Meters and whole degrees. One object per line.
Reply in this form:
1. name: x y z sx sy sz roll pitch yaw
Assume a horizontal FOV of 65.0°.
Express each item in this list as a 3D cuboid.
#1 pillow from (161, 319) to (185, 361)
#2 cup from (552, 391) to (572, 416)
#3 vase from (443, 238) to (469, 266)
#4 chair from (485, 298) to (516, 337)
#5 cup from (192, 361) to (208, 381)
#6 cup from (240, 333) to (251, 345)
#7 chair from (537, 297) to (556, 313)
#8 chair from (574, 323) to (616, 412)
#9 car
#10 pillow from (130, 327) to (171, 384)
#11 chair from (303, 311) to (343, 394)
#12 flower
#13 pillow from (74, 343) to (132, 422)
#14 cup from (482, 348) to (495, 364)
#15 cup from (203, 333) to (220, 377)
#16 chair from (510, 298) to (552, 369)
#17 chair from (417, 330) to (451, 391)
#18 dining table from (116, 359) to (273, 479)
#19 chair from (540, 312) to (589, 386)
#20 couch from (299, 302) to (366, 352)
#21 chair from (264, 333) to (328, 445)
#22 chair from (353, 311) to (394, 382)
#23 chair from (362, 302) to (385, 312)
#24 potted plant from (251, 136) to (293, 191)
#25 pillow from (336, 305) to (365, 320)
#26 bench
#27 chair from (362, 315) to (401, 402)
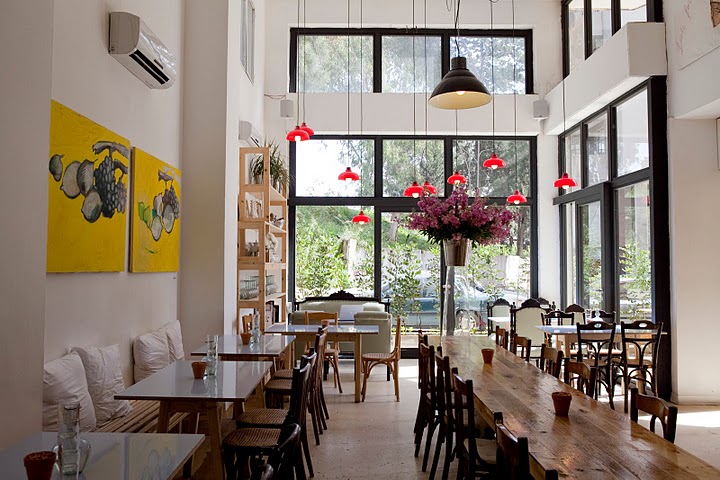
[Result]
1. pillow: -2.039 1.093 6.229 0.094 0.337 0.331 -6 -35 6
2. cup: 1.483 1.201 4.145 0.136 0.157 0.154 0 -7 3
3. vase: 0.952 0.129 5.577 0.238 0.251 0.229 -2 -7 22
4. chair: 2.396 1.376 9.569 0.433 0.653 0.391 -1 6 17
5. cup: -1.354 1.101 4.778 0.129 0.125 0.130 1 -9 0
6. cup: -1.205 1.055 6.010 0.103 0.086 0.106 0 -5 0
7. chair: 3.150 1.089 9.494 0.283 0.190 0.296 2 -3 -6
8. chair: 2.908 1.531 7.066 0.572 1.072 0.643 0 -3 -8
9. car: 1.227 1.144 9.795 2.046 0.767 0.977 2 0 3
10. pillow: -2.093 1.163 5.612 0.272 0.551 0.534 -2 1 19
11. chair: -0.500 1.541 7.793 0.510 1.029 0.598 1 -3 1
12. flower: 1.012 -0.305 5.890 0.824 0.674 1.041 -6 4 -17
13. pillow: -2.239 1.251 4.886 0.241 0.677 0.590 -20 -6 12
14. cup: 1.215 1.101 5.384 0.125 0.130 0.132 1 1 0
15. cup: -1.307 1.043 5.070 0.106 0.362 0.110 0 -8 0
16. chair: 2.610 1.413 8.762 0.754 1.062 0.731 -9 10 -41
17. chair: 0.768 1.125 5.840 0.312 0.560 0.307 0 -1 5
18. dining table: -1.314 1.760 4.762 0.888 0.847 1.634 0 -1 -1
19. chair: 2.653 1.369 7.567 0.584 0.862 0.805 5 -2 29
20. couch: -0.367 1.469 9.685 1.268 0.943 0.736 0 -10 4
21. chair: -0.646 1.598 6.102 0.781 1.318 0.763 1 -5 0
22. chair: 0.273 1.532 8.328 0.792 1.206 0.809 0 -1 3
23. chair: 0.237 1.158 9.731 0.187 0.143 0.193 3 -4 -20
24. potted plant: -1.430 -1.177 8.949 0.484 0.713 0.491 5 5 -8
25. pillow: -0.136 1.207 9.320 0.277 0.249 0.103 0 -27 2
26. bench: -1.891 1.518 4.817 0.329 0.131 0.546 2 -2 -5
27. chair: 0.296 1.636 7.683 0.696 1.031 0.695 -8 -16 40
